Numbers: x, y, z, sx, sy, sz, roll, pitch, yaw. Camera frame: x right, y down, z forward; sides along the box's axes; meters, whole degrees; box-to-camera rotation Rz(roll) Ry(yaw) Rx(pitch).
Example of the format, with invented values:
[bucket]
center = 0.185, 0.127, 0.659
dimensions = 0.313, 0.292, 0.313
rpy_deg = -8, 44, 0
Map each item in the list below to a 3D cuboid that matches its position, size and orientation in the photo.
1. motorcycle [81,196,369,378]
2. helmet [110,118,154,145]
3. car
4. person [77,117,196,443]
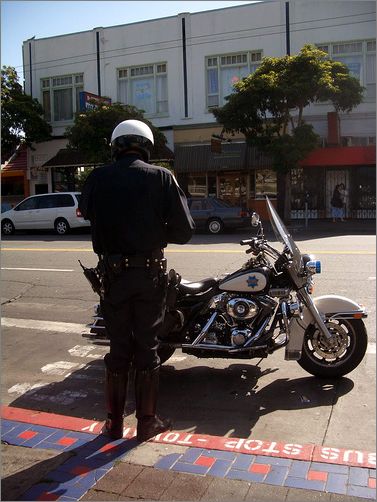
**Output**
[motorcycle]
center = 0.500, 0.403, 3.592
dimensions = 2.310, 1.402, 1.118
rpy_deg = -1, 3, 7
[helmet]
center = -0.351, -0.777, 3.157
dimensions = 0.176, 0.161, 0.204
rpy_deg = 5, 22, -2
[car]
center = 1.113, -1.282, 17.845
dimensions = 2.463, 0.823, 1.037
rpy_deg = 3, 7, 9
[person]
center = -0.277, 0.264, 2.956
dimensions = 0.642, 1.640, 0.325
rpy_deg = -4, 4, -12
